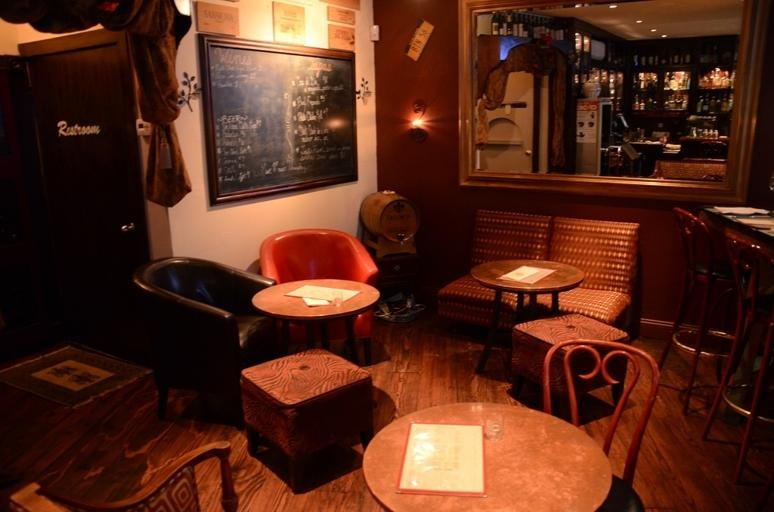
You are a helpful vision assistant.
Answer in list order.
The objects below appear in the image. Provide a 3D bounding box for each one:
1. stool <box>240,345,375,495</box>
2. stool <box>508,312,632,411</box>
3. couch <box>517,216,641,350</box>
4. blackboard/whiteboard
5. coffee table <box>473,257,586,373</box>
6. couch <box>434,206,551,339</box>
[{"bbox_3d":[-0.567,1.121,3.969,0.867,0.605,0.900,-5,12,-20],"label":"stool"},{"bbox_3d":[1.412,0.666,4.316,0.737,0.594,0.781,4,9,38],"label":"stool"},{"bbox_3d":[1.797,0.273,5.208,0.915,1.137,0.935,7,14,28],"label":"couch"},{"bbox_3d":[-0.967,-1.343,5.496,0.054,1.341,1.804,17,23,38],"label":"blackboard/whiteboard"},{"bbox_3d":[1.226,0.481,5.049,0.974,0.966,0.975,1,16,8],"label":"coffee table"},{"bbox_3d":[1.124,0.105,5.564,1.230,0.941,1.218,-7,18,5],"label":"couch"}]
